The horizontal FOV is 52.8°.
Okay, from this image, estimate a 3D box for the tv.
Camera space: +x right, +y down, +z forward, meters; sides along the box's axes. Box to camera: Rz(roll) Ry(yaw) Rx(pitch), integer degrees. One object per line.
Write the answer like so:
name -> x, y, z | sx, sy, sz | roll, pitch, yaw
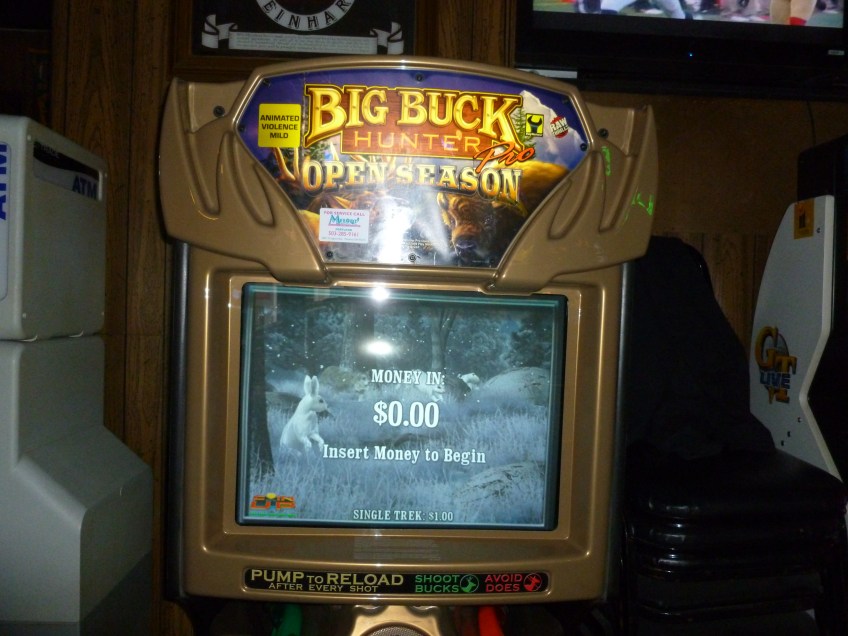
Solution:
tv -> -0.060, 0.043, 2.064 | 1.142, 1.440, 0.474 | 0, 2, -3
